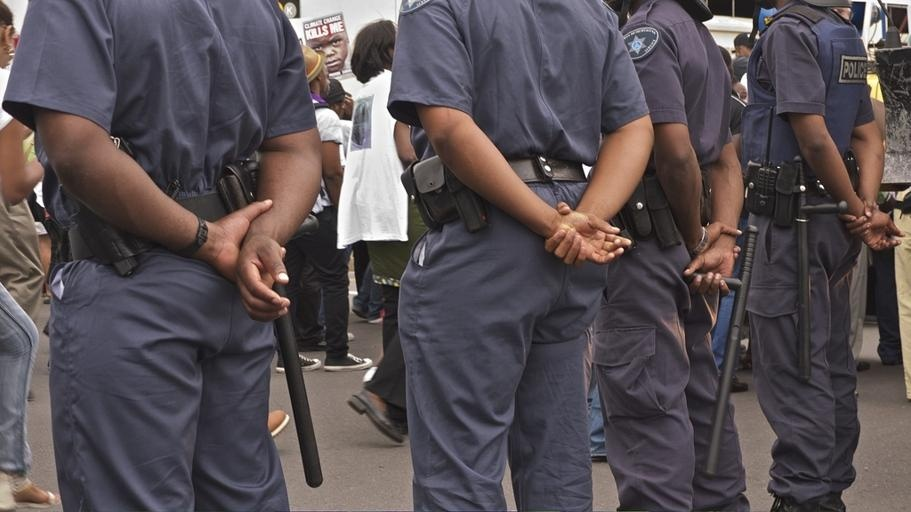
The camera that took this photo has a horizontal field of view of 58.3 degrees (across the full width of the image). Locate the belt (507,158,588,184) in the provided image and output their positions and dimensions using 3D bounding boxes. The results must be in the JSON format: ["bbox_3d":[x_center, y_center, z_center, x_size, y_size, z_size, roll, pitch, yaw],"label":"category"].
[{"bbox_3d":[0.378,-0.344,3.304,0.172,0.046,0.161,3,-5,-31],"label":"belt"}]

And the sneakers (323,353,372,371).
[{"bbox_3d":[-0.925,0.906,6.993,0.422,0.144,0.156,-1,1,-13],"label":"sneakers"}]

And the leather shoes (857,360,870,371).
[{"bbox_3d":[3.541,0.946,7.094,0.049,0.085,0.143,4,11,41],"label":"leather shoes"}]
